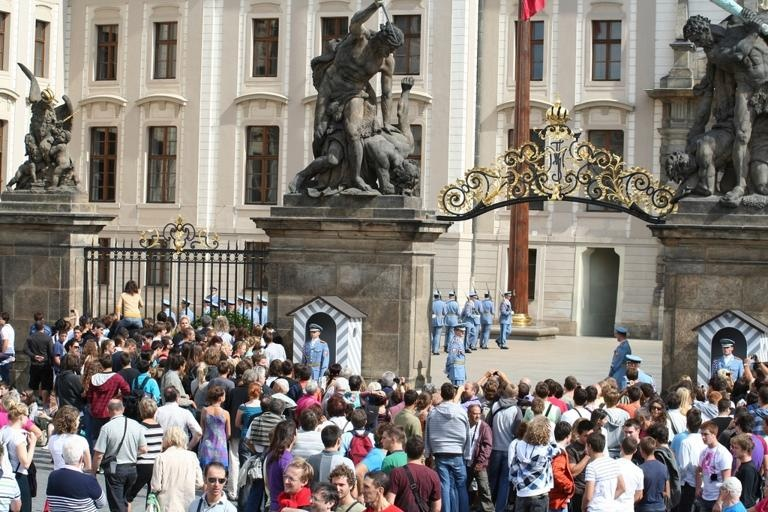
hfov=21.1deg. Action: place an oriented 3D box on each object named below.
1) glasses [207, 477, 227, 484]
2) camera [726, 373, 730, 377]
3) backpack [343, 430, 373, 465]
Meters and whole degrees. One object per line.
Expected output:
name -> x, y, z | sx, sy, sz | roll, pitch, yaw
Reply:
glasses -> -3.293, 4.467, 41.596 | 0.357, 0.128, 0.164 | -2, -5, -19
camera -> 7.763, 2.654, 46.905 | 0.073, 0.065, 0.018 | -2, -18, 18
backpack -> -0.437, 3.992, 43.435 | 0.508, 0.683, 0.677 | 5, -31, 0
